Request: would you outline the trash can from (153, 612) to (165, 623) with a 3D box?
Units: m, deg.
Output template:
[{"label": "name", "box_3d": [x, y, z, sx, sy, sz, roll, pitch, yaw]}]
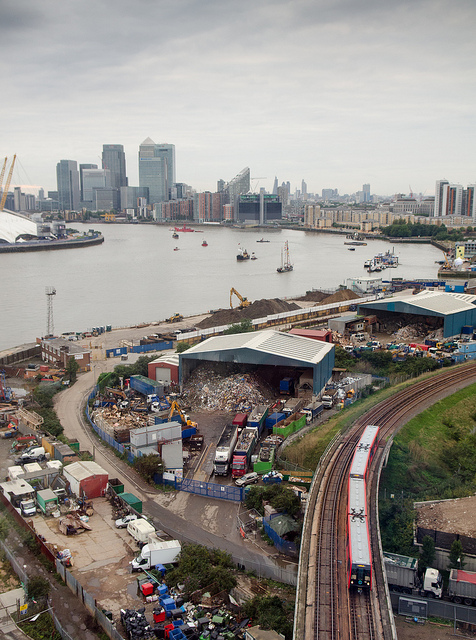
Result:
[{"label": "trash can", "box_3d": [-1.161, 4.425, 10.146, 0.217, 0.195, 0.120, 3, 23, -4]}]

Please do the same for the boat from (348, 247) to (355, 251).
[{"label": "boat", "box_3d": [15.339, -9.613, 91.685, 0.663, 0.434, 0.654, -1, 5, 12]}]

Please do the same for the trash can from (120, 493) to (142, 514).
[{"label": "trash can", "box_3d": [-2.161, 3.767, 13.832, 0.300, 0.270, 0.743, -11, 12, -31]}]

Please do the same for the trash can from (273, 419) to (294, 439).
[{"label": "trash can", "box_3d": [1.207, 2.857, 17.807, 0.419, 0.294, 0.788, 0, 11, 22]}]

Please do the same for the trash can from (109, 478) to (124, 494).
[{"label": "trash can", "box_3d": [-2.620, 3.585, 14.676, 0.222, 0.259, 0.381, -10, 19, -26]}]

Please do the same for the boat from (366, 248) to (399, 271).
[{"label": "boat", "box_3d": [14.984, -5.949, 69.762, 2.926, 1.646, 4.244, 2, 15, 18]}]

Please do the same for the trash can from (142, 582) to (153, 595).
[{"label": "trash can", "box_3d": [-1.447, 4.286, 10.833, 0.163, 0.127, 0.194, -7, 10, -14]}]

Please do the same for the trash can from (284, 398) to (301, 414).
[{"label": "trash can", "box_3d": [1.591, 2.452, 19.384, 0.184, 0.179, 0.788, 3, 14, 15]}]
